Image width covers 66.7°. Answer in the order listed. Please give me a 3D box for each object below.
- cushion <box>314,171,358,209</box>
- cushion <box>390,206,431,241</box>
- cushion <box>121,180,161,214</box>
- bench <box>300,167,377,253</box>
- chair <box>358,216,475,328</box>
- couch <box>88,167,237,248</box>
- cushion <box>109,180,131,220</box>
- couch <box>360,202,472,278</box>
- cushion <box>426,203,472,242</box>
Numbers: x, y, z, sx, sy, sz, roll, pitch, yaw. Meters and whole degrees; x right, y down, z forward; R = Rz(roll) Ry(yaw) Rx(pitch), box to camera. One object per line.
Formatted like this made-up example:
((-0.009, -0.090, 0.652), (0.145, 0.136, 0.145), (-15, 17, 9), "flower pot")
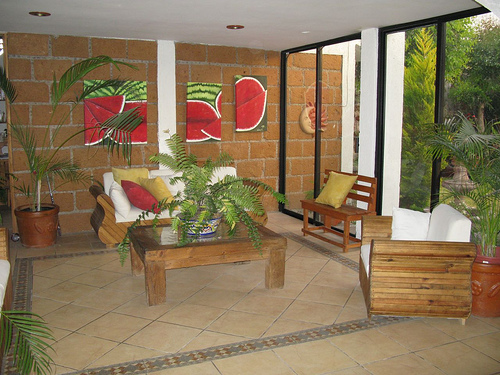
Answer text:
((1.304, 0.060, 5.517), (0.146, 0.480, 0.531), (30, -1, -24), "cushion")
((1.555, 0.362, 3.667), (0.302, 0.276, 0.110), (7, -11, -3), "cushion")
((-1.591, 0.064, 5.388), (0.523, 0.135, 0.243), (-5, 54, 6), "cushion")
((1.310, 0.307, 5.759), (0.849, 1.068, 1.416), (-3, 11, -15), "bench")
((1.443, 0.708, 3.483), (0.908, 0.624, 0.891), (1, 7, 10), "chair")
((-1.097, 0.260, 5.839), (2.547, 0.966, 0.767), (-2, 20, -22), "couch")
((-1.856, 0.202, 5.340), (0.224, 0.451, 0.308), (-9, 14, -40), "cushion")
((1.609, 0.529, 3.801), (0.839, 0.931, 1.036), (-8, 3, 9), "couch")
((1.779, 0.327, 3.388), (0.141, 0.340, 0.378), (20, 4, -4), "cushion")
